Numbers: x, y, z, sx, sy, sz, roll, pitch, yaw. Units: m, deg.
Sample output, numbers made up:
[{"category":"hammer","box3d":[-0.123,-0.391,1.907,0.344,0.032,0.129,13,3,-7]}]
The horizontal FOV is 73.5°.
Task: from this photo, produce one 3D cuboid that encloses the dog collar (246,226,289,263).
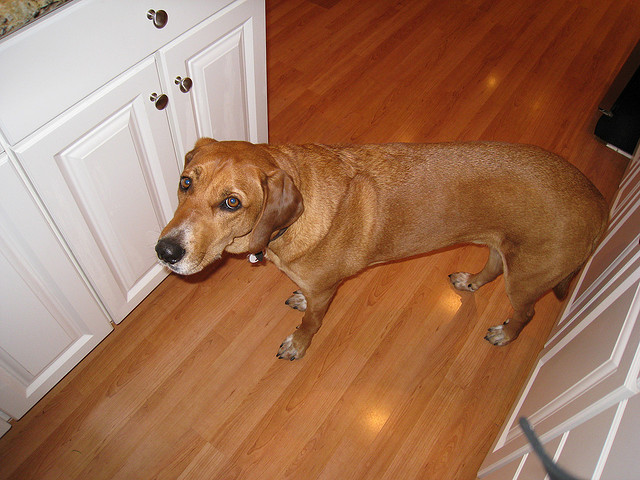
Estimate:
[{"category":"dog collar","box3d":[-0.265,0.018,2.205,0.043,0.092,0.163,41,83,21]}]
